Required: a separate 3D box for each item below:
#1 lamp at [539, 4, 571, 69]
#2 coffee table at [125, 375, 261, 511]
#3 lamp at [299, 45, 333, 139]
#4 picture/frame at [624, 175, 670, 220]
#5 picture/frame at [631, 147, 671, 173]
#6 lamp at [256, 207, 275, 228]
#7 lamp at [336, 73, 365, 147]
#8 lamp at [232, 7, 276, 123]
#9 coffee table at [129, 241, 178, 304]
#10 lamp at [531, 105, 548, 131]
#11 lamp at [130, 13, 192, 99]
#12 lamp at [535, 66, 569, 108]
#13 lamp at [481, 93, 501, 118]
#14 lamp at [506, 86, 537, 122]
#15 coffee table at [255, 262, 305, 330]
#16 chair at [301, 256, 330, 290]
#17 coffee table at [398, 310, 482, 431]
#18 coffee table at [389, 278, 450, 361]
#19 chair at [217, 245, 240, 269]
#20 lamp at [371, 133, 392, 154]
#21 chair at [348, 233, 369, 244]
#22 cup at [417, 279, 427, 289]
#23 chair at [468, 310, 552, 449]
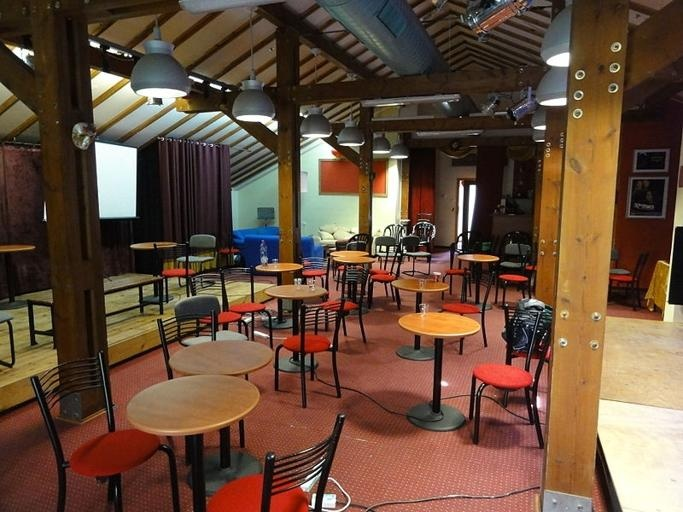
[{"bbox_3d":[1.586,-1.660,3.763,0.190,0.515,0.574,1,5,21],"label":"lamp"},{"bbox_3d":[-1.085,1.389,3.685,0.773,0.772,0.721,11,21,27],"label":"coffee table"},{"bbox_3d":[-0.235,-2.185,6.795,0.410,1.009,0.400,-19,19,-30],"label":"lamp"},{"bbox_3d":[5.323,-1.022,8.808,0.745,0.887,0.073,8,12,25],"label":"picture/frame"},{"bbox_3d":[5.335,-1.640,8.716,0.490,0.378,0.032,8,13,29],"label":"picture/frame"},{"bbox_3d":[-1.983,-1.025,13.366,0.460,0.476,0.620,-2,5,-10],"label":"lamp"},{"bbox_3d":[0.148,-2.217,7.811,0.447,0.905,0.409,-2,20,-8],"label":"lamp"},{"bbox_3d":[-0.931,-1.958,5.262,0.518,0.944,0.491,-7,18,-26],"label":"lamp"},{"bbox_3d":[-3.186,0.285,8.582,0.850,0.876,0.832,12,17,37],"label":"coffee table"},{"bbox_3d":[2.503,-1.757,6.452,0.155,0.250,0.375,2,5,23],"label":"lamp"},{"bbox_3d":[-1.502,-1.622,4.210,0.368,0.566,0.329,1,5,14],"label":"lamp"},{"bbox_3d":[1.883,-1.509,4.490,0.225,0.350,0.268,-1,5,-9],"label":"lamp"},{"bbox_3d":[2.520,-2.522,8.487,0.234,0.418,1.116,1,5,18],"label":"lamp"},{"bbox_3d":[2.386,-2.017,6.697,0.360,0.382,0.788,1,5,17],"label":"lamp"},{"bbox_3d":[-0.827,0.502,7.142,0.916,0.938,0.857,-1,12,0],"label":"coffee table"},{"bbox_3d":[-0.437,0.284,8.361,0.605,0.659,0.509,0,3,5],"label":"chair"},{"bbox_3d":[0.821,1.031,5.157,1.060,1.089,0.964,3,12,17],"label":"coffee table"},{"bbox_3d":[0.947,0.761,6.560,0.954,1.024,0.960,-1,4,-6],"label":"coffee table"},{"bbox_3d":[-2.447,0.027,11.311,0.473,0.497,0.507,5,9,38],"label":"chair"},{"bbox_3d":[0.816,-2.325,10.465,0.311,0.434,0.726,0,5,5],"label":"lamp"},{"bbox_3d":[0.318,-0.349,9.850,0.265,0.313,0.258,-3,-9,20],"label":"chair"},{"bbox_3d":[0.981,0.349,6.271,0.105,0.180,0.103,2,3,0],"label":"cup"},{"bbox_3d":[1.598,1.075,4.832,0.705,1.136,1.174,1,5,20],"label":"chair"}]
